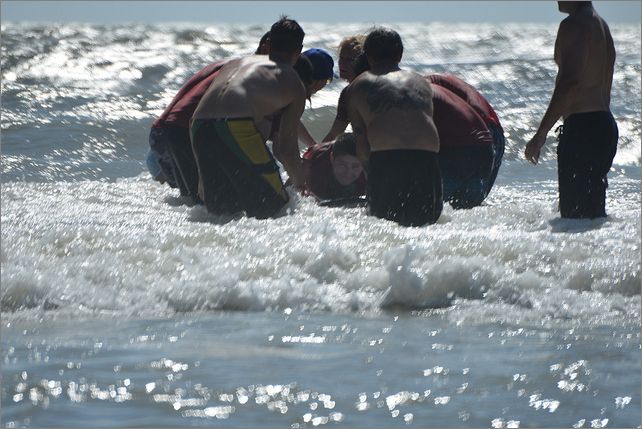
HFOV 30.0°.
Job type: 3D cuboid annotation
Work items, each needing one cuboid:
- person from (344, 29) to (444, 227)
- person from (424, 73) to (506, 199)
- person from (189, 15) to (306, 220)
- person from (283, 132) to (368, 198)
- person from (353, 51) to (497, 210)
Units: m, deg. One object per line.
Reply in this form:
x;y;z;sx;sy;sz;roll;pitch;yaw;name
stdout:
0.646;-0.807;11.111;0.785;1.807;0.647;2;14;35;person
1.427;-0.748;12.279;1.053;1.155;0.463;16;-9;-3;person
-0.672;-0.723;11.279;1.103;1.493;0.580;-6;11;-3;person
0.125;-0.479;12.067;0.637;0.649;0.434;1;1;19;person
1.325;-0.824;12.105;1.414;1.479;0.728;11;13;3;person
